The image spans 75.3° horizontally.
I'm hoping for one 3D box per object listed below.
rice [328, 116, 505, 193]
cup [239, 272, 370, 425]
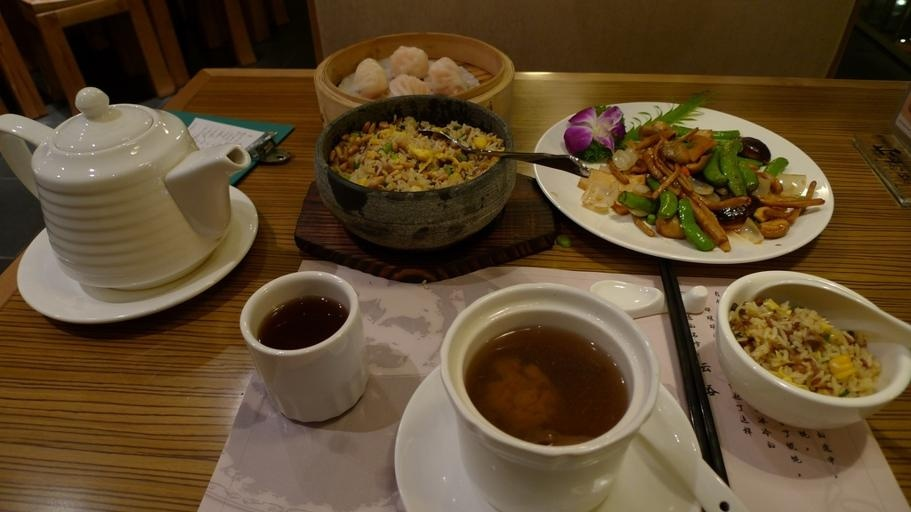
[{"bbox_3d":[-0.177,-0.388,1.953,0.589,0.231,0.467,-9,30,-17],"label":"rice"},{"bbox_3d":[-0.374,0.231,1.532,0.285,0.245,0.315,-21,55,-15],"label":"cup"}]
